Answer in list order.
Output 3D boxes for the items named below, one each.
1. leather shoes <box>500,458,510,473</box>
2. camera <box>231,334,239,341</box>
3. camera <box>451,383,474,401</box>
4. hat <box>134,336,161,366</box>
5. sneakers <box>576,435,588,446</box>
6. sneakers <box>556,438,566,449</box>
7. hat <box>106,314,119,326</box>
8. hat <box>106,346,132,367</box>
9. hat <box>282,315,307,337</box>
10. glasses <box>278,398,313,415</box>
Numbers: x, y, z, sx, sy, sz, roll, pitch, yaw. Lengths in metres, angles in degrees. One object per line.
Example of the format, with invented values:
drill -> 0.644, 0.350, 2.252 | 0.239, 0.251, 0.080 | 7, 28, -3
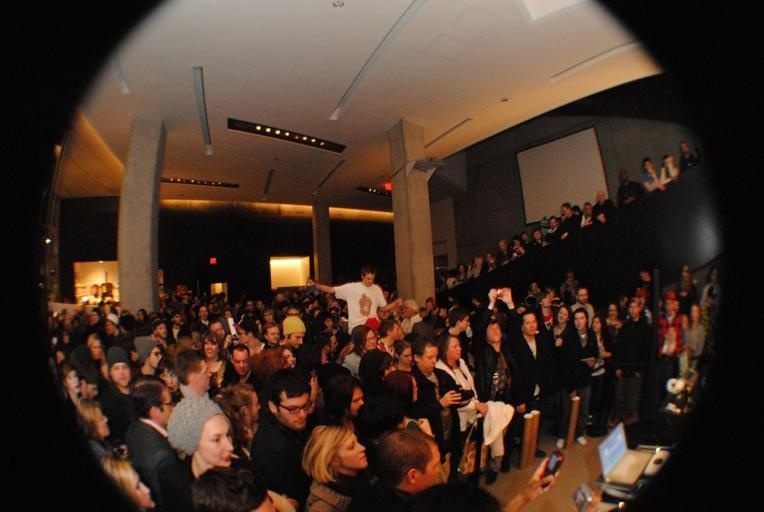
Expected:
leather shoes -> 1.677, 2.874, 6.985 | 0.075, 0.231, 0.158 | -5, -10, 23
camera -> -2.251, 1.261, 7.808 | 0.104, 0.037, 0.106 | 3, 8, 0
camera -> 1.041, 1.765, 6.515 | 0.170, 0.079, 0.218 | 9, -2, -43
hat -> -3.374, 1.347, 7.275 | 0.398, 0.431, 0.333 | -19, -2, -22
sneakers -> 2.904, 2.695, 7.337 | 0.088, 0.066, 0.162 | -23, -11, -3
sneakers -> 2.575, 2.708, 7.271 | 0.121, 0.131, 0.097 | 0, -4, 21
hat -> -4.739, 1.135, 8.925 | 0.180, 0.191, 0.233 | 3, -4, -28
hat -> -3.415, 1.321, 6.703 | 0.301, 0.294, 0.244 | -7, -6, 10
hat -> -1.305, 1.061, 7.637 | 0.321, 0.290, 0.240 | 5, 5, 35
glasses -> -0.987, 1.763, 5.900 | 0.436, 0.170, 0.160 | 4, -4, -32
